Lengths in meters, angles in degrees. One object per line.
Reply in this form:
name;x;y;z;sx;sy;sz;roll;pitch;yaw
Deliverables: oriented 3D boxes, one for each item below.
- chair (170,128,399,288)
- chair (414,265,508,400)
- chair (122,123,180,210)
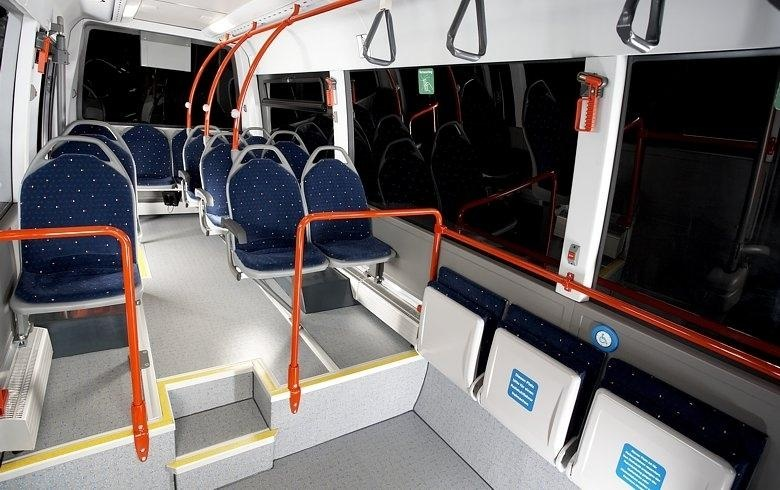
chair;-1.276;-0.258;4.811;1.553;1.340;2.503;-6;29;-30
chair;0.571;0.691;3.473;0.422;0.829;0.713;-11;27;-39
chair;-3.512;-1.285;6.145;0.675;0.922;0.778;-10;17;-35
